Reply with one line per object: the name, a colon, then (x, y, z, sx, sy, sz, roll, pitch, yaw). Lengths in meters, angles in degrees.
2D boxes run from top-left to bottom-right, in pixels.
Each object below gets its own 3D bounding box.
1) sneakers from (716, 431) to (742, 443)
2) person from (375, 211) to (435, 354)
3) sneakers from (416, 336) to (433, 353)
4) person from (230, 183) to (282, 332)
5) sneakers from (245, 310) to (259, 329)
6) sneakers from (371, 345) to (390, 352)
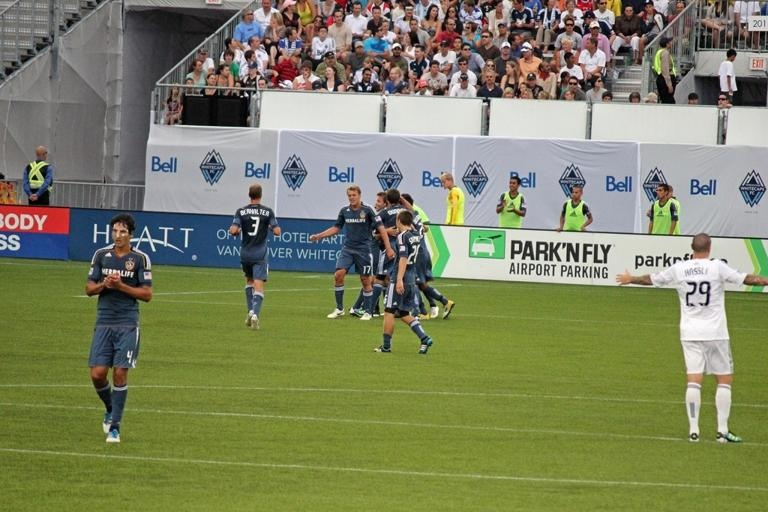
sneakers: (7.059, 3.712, 34.550, 0.449, 0.205, 0.213, -1, 2, 1)
person: (0.506, 0.601, 38.755, 1.025, 2.157, 0.736, 1, 1, -33)
sneakers: (0.977, 2.098, 38.849, 0.285, 0.187, 0.526, 6, -30, -1)
person: (-3.084, 0.015, 40.549, 1.086, 3.438, 1.253, 2, 1, -4)
sneakers: (-3.100, 1.526, 40.146, 0.213, 0.460, 0.240, -1, 37, 3)
sneakers: (-0.042, 2.159, 38.853, 0.389, 0.159, 0.142, 4, 3, 19)
